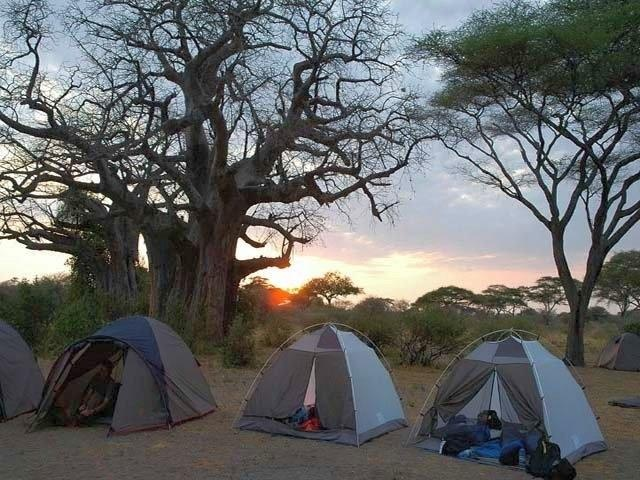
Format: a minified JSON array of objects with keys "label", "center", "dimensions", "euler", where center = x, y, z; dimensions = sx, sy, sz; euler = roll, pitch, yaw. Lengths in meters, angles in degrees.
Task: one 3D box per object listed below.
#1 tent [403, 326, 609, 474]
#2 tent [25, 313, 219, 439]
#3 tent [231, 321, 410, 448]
[{"label":"tent","center":[3.915,3.189,11.876],"dimensions":[3.372,2.374,1.855],"euler":[-4,-8,26]},{"label":"tent","center":[-4.378,3.099,13.494],"dimensions":[2.870,1.720,2.645],"euler":[-1,-14,2]},{"label":"tent","center":[0.071,3.102,12.766],"dimensions":[3.230,2.468,1.361],"euler":[-2,-7,13]}]
